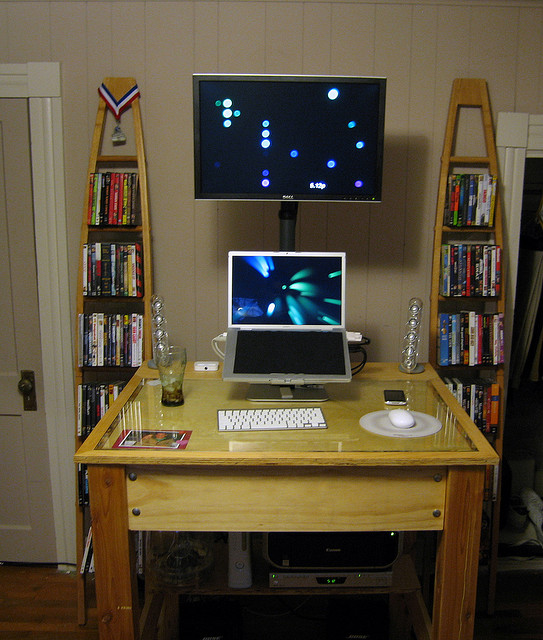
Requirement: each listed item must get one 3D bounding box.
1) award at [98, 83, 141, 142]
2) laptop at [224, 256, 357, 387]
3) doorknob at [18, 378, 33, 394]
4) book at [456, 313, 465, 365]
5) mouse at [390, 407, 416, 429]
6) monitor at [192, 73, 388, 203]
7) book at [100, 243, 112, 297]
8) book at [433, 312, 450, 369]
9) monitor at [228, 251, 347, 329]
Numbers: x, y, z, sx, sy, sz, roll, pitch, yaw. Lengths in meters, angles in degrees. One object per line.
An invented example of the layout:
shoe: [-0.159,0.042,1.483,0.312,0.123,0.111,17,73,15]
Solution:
award: [-0.616,-0.843,2.643,0.160,0.224,0.090,-4,12,-10]
laptop: [0.054,-0.011,2.219,0.465,0.293,0.362,3,33,4]
doorknob: [-1.090,0.290,2.858,0.056,0.067,0.024,-2,12,-1]
book: [0.770,0.080,2.652,0.038,0.205,0.037,-1,12,5]
mouse: [0.393,0.302,1.966,0.064,0.048,0.060,5,13,30]
monitor: [0.057,-0.651,2.289,0.508,0.295,0.025,0,15,-2]
book: [-0.674,-0.201,2.623,0.059,0.207,0.024,-4,13,-11]
book: [0.697,0.086,2.670,0.084,0.203,0.227,1,5,7]
monitor: [0.053,-0.107,2.366,0.449,0.285,0.016,-1,5,-17]
